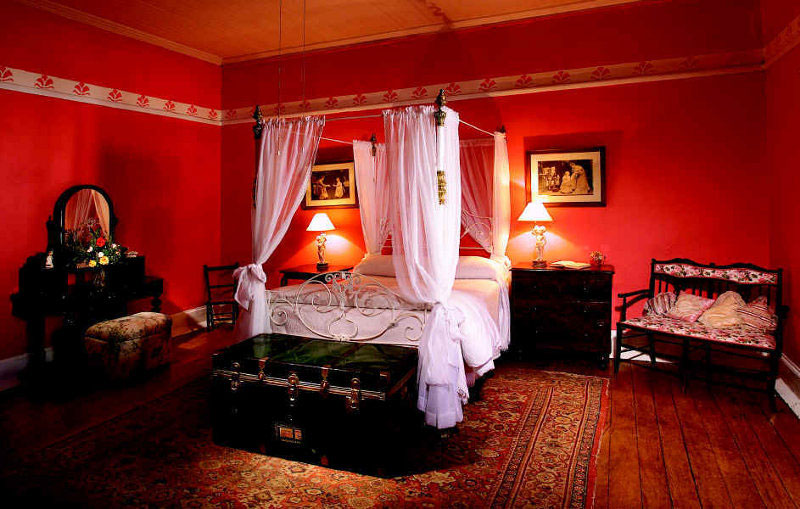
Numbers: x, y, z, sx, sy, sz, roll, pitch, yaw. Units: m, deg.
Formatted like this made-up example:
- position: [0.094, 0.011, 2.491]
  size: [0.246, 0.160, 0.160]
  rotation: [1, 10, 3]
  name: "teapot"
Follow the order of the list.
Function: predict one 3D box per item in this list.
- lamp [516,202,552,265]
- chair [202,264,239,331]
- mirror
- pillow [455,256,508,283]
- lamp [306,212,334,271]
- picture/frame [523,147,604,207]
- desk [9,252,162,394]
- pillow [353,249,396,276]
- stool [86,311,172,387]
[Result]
- position: [1.901, -0.329, 7.512]
  size: [0.463, 0.930, 0.430]
  rotation: [2, 5, 14]
  name: "lamp"
- position: [-2.952, 0.679, 8.826]
  size: [0.564, 1.039, 0.861]
  rotation: [-1, 5, -19]
  name: "chair"
- position: [-4.357, -0.440, 7.240]
  size: [0.178, 1.016, 1.060]
  rotation: [-1, 0, 35]
  name: "mirror"
- position: [1.121, 0.196, 7.246]
  size: [0.815, 0.300, 0.511]
  rotation: [0, 5, -5]
  name: "pillow"
- position: [-1.243, -0.234, 8.454]
  size: [0.424, 0.864, 0.775]
  rotation: [0, 5, -10]
  name: "lamp"
- position: [2.344, -1.099, 7.500]
  size: [0.907, 0.642, 0.034]
  rotation: [1, 4, 17]
  name: "picture/frame"
- position: [-4.177, 0.581, 7.732]
  size: [1.464, 1.969, 2.381]
  rotation: [0, 1, 27]
  name: "desk"
- position: [-0.336, 0.135, 7.528]
  size: [0.579, 0.284, 0.572]
  rotation: [1, 5, 7]
  name: "pillow"
- position: [-3.479, 1.126, 6.989]
  size: [0.769, 0.764, 1.088]
  rotation: [5, 6, 31]
  name: "stool"
